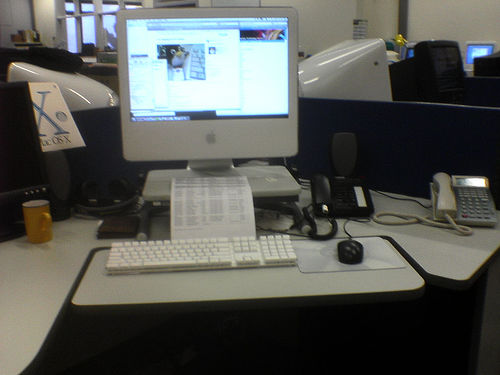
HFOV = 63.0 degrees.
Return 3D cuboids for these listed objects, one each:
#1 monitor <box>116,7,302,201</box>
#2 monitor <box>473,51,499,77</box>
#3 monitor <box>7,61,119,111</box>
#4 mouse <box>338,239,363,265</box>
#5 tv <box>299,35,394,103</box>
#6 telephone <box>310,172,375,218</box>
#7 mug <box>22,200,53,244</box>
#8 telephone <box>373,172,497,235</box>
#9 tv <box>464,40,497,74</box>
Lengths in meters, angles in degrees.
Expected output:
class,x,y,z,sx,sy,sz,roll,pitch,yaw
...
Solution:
class,x,y,z,sx,sy,sz,roll,pitch,yaw
monitor,-0.135,-0.342,1.363,0.586,0.496,0.160,-1,17,4
monitor,1.887,-0.988,3.275,0.181,0.173,0.274,7,20,27
monitor,-0.720,-0.386,1.564,0.310,0.117,0.317,12,15,-28
mouse,0.287,0.174,1.167,0.064,0.021,0.091,5,45,-9
tv,0.419,-0.546,1.948,0.368,0.289,0.393,1,18,-9
telephone,0.320,0.022,1.482,0.216,0.099,0.247,1,30,16
mug,-0.645,0.112,1.265,0.118,0.124,0.072,17,22,38
telephone,0.700,0.054,1.365,0.247,0.088,0.259,2,18,15
tv,3.326,-1.973,6.040,0.615,0.372,0.314,-17,22,-38
